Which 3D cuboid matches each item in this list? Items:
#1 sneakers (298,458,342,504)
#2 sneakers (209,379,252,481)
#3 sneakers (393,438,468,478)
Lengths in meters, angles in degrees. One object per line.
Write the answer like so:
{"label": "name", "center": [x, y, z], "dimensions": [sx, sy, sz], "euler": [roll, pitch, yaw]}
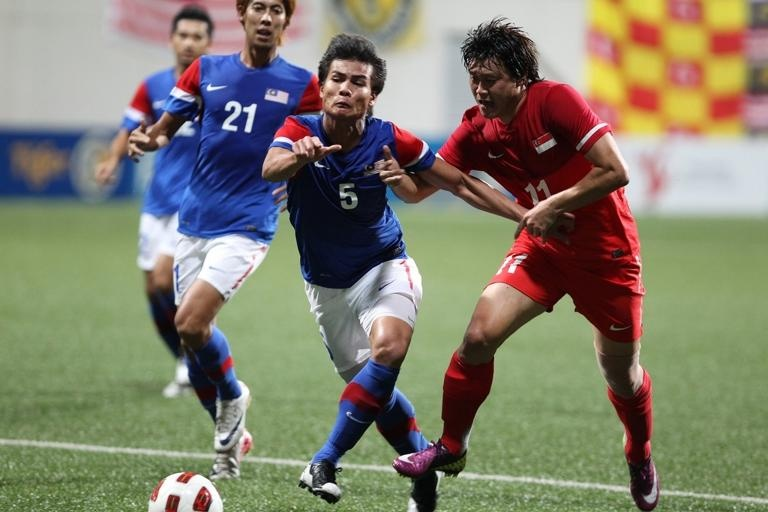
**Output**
{"label": "sneakers", "center": [-0.314, 1.253, 4.486], "dimensions": [0.126, 0.209, 0.365], "euler": [44, -22, -18]}
{"label": "sneakers", "center": [-0.952, 1.092, 5.214], "dimensions": [0.202, 0.644, 0.269], "euler": [1, -3, 12]}
{"label": "sneakers", "center": [0.267, 1.191, 4.815], "dimensions": [0.481, 0.260, 0.177], "euler": [3, -4, -12]}
